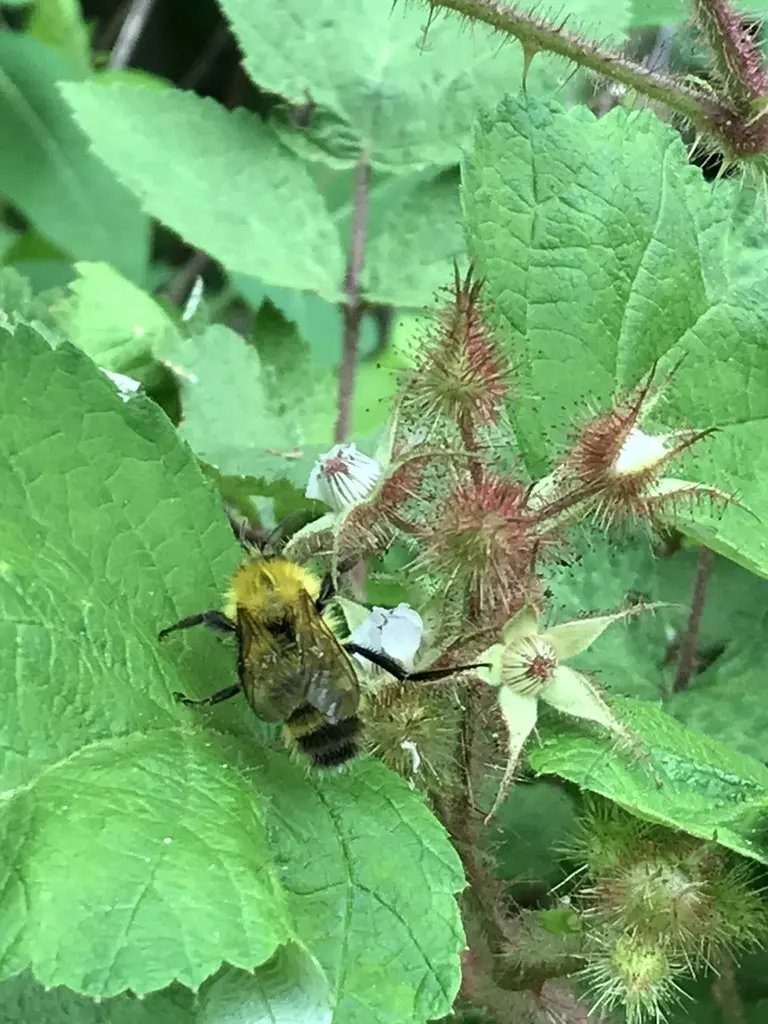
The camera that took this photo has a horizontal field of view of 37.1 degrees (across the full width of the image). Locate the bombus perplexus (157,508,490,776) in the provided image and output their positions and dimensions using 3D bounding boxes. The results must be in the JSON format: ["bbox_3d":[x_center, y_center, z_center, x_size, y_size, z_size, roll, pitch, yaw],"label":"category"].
[{"bbox_3d":[-0.036,0.070,0.601,0.123,0.043,0.149,-14,36,-22],"label":"bombus perplexus"}]
